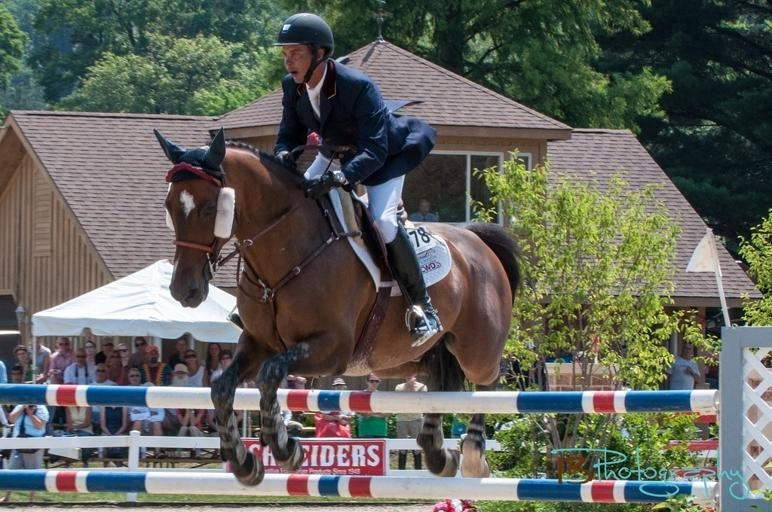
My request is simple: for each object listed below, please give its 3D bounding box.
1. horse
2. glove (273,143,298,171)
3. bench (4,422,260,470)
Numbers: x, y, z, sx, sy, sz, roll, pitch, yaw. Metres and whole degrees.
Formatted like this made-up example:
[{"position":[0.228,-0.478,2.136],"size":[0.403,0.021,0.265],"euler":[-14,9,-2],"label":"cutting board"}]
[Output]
[{"position":[-1.128,1.115,39.180],"size":[7.239,8.044,2.134],"euler":[-3,7,-7],"label":"horse"},{"position":[-2.196,-2.205,38.991],"size":[0.236,0.540,0.412],"euler":[-47,16,-21],"label":"glove"},{"position":[-6.530,4.729,43.777],"size":[7.976,0.511,0.958],"euler":[-5,9,18],"label":"bench"}]
